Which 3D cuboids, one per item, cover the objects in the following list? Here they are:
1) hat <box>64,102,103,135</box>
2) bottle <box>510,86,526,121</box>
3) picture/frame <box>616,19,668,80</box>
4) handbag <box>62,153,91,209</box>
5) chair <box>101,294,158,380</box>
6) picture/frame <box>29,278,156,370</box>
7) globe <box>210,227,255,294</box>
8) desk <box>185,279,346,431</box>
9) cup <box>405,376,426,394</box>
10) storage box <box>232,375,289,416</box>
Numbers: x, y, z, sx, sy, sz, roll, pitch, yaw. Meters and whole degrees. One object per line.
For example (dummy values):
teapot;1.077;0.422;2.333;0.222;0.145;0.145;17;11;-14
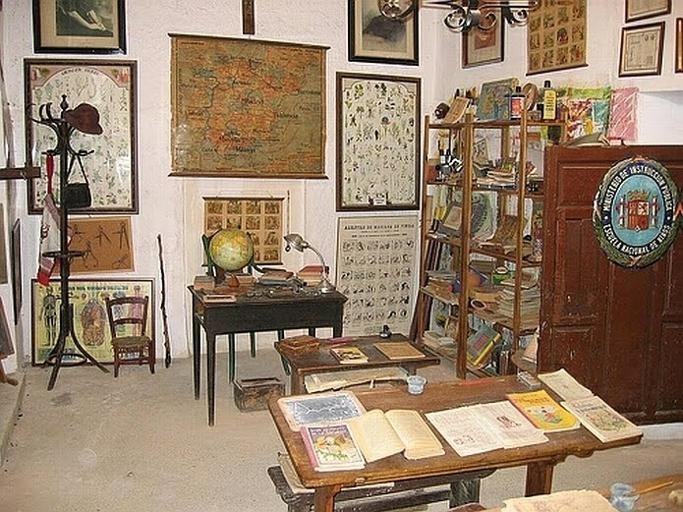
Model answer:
hat;-2.841;-1.499;5.957;0.365;0.331;0.210;-5;12;-27
bottle;1.777;-1.515;5.438;0.129;0.322;0.131;-3;22;1
picture/frame;2.642;-1.787;4.721;0.060;0.596;0.528;-8;14;-33
handbag;-2.993;-0.856;6.165;0.271;0.677;0.070;-5;-9;-17
chair;-2.485;0.912;6.453;0.747;1.254;0.805;-2;6;-23
picture/frame;-2.939;0.768;6.427;1.385;1.026;0.035;0;1;-3
globe;-1.137;0.017;5.548;0.449;0.652;0.445;-10;16;-44
desk;-0.855;0.871;5.563;1.441;1.170;0.946;2;14;-28
cup;0.443;0.752;3.223;0.097;0.065;0.098;2;10;0
storage box;-0.876;1.295;5.439;0.460;0.250;0.357;-2;43;-16
